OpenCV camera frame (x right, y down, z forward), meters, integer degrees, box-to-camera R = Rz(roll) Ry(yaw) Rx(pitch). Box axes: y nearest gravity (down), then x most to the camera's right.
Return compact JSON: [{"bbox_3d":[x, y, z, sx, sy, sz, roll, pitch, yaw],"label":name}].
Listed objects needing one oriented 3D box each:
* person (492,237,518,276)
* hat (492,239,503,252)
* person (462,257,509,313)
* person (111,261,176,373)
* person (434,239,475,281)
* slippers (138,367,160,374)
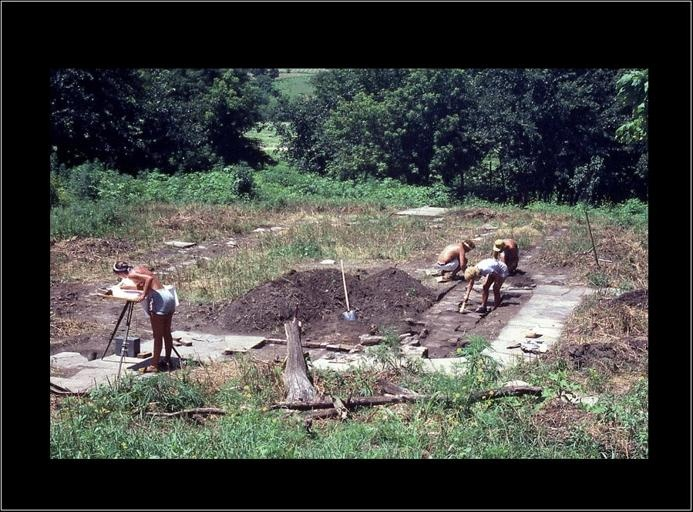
[{"bbox_3d":[3.488,0.017,16.473,0.439,0.690,1.263,1,-9,29],"label":"person"},{"bbox_3d":[3.121,-0.181,15.218,0.187,0.261,0.349,2,10,10],"label":"hat"},{"bbox_3d":[2.772,0.520,14.967,0.837,1.142,1.555,2,10,9],"label":"person"},{"bbox_3d":[-3.218,0.974,11.926,0.924,1.868,0.876,-4,11,-23],"label":"person"},{"bbox_3d":[2.458,0.110,16.553,0.758,1.008,0.624,-2,22,-15],"label":"person"},{"bbox_3d":[-3.207,1.867,12.072,0.233,0.096,0.138,6,0,-6],"label":"slippers"}]
